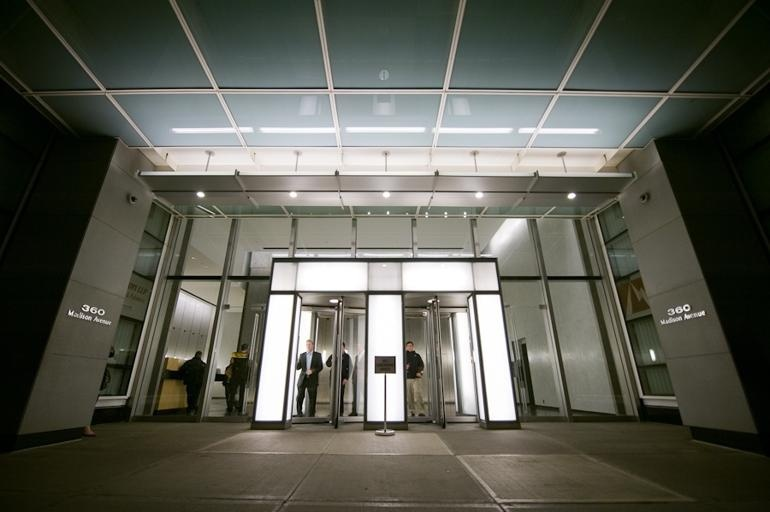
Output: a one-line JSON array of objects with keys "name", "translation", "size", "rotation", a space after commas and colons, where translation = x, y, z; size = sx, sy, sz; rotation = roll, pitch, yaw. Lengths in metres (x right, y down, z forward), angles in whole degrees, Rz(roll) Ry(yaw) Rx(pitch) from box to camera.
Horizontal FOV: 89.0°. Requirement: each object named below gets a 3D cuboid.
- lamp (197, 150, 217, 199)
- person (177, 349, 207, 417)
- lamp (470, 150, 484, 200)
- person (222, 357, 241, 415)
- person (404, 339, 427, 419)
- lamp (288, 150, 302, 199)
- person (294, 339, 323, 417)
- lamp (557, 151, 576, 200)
[{"name": "lamp", "translation": [-4.189, -1.885, 9.134], "size": [0.289, 0.955, 0.667], "rotation": [6, -12, -27]}, {"name": "person", "translation": [-4.989, 3.260, 10.181], "size": [0.750, 1.554, 0.234], "rotation": [-3, -12, 16]}, {"name": "lamp", "translation": [2.159, -1.875, 9.125], "size": [0.217, 0.926, 0.639], "rotation": [-3, -11, 15]}, {"name": "person", "translation": [-3.957, 3.332, 10.144], "size": [0.394, 1.405, 0.117], "rotation": [4, -12, -16]}, {"name": "person", "translation": [0.832, 3.338, 10.761], "size": [0.437, 1.934, 1.192], "rotation": [-1, -11, 6]}, {"name": "lamp", "translation": [-2.076, -1.913, 9.085], "size": [0.211, 0.912, 0.750], "rotation": [3, -11, -14]}, {"name": "person", "translation": [-2.012, 3.200, 10.454], "size": [0.631, 1.938, 0.586], "rotation": [3, -12, -15]}, {"name": "lamp", "translation": [4.235, -1.862, 9.096], "size": [0.262, 0.957, 0.708], "rotation": [-7, -13, 32]}]
